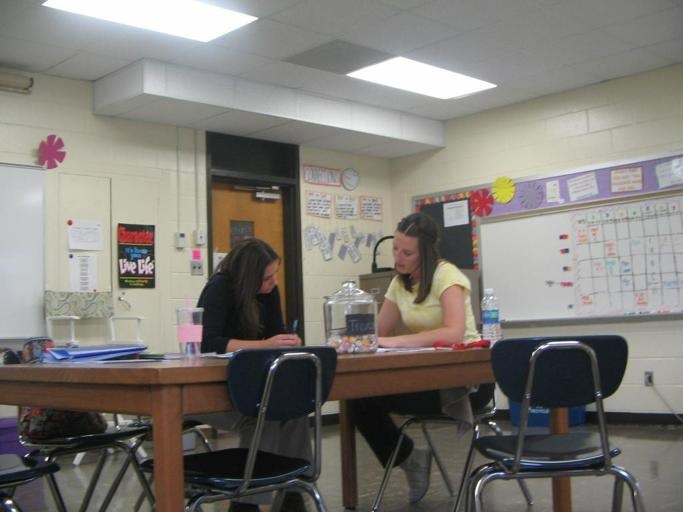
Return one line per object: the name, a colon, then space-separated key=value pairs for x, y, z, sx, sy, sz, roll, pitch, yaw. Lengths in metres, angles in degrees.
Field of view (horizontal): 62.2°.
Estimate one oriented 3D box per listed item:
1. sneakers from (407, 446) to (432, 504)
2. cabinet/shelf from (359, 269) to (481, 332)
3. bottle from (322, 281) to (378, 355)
sneakers: x=0.410 y=1.179 z=3.096 sx=0.142 sy=0.344 sz=0.119 roll=-4 pitch=6 yaw=-12
cabinet/shelf: x=0.768 y=0.604 z=5.779 sx=0.603 sy=1.035 sz=1.057 roll=5 pitch=-7 yaw=-32
bottle: x=0.037 y=0.244 z=2.255 sx=0.203 sy=0.276 sz=0.221 roll=-2 pitch=0 yaw=0
